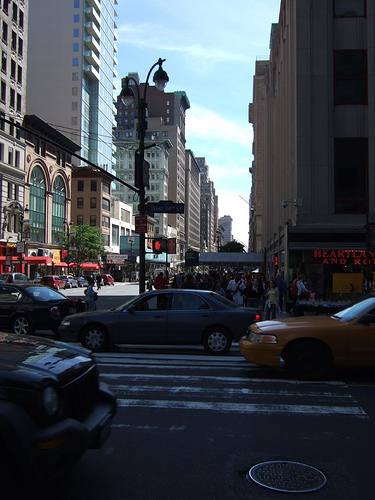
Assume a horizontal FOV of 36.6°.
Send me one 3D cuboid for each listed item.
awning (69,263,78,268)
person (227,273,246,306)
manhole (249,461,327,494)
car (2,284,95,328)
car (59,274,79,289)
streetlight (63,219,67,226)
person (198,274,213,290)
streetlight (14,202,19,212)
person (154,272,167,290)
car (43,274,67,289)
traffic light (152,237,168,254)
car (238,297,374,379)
[{"bbox_3d":[-14.830,1.930,73.895,1.034,0.590,1.162,2,2,-28],"label":"awning"},{"bbox_3d":[1.717,1.557,19.606,0.563,1.569,0.510,0,27,15],"label":"person"},{"bbox_3d":[0.779,1.743,4.392,0.609,0.050,0.612,4,2,31],"label":"manhole"},{"bbox_3d":[-3.286,1.406,14.020,2.551,0.944,1.168,7,-3,8],"label":"car"},{"bbox_3d":[-11.721,3.024,55.815,0.849,0.810,2.182,-1,-8,3],"label":"car"},{"bbox_3d":[-16.468,-3.798,75.985,0.284,0.918,0.833,4,-1,-11],"label":"streetlight"},{"bbox_3d":[0.624,1.080,19.543,0.387,0.848,0.446,2,-3,-8],"label":"person"},{"bbox_3d":[-17.676,-4.408,58.846,0.179,0.564,0.365,5,9,-42],"label":"streetlight"},{"bbox_3d":[-0.974,1.074,20.112,0.405,0.384,0.780,2,2,-3],"label":"person"},{"bbox_3d":[-11.293,2.612,47.847,0.856,0.765,2.056,1,2,9],"label":"car"},{"bbox_3d":[-1.134,-0.190,23.600,0.588,0.558,0.926,1,0,0],"label":"traffic light"},{"bbox_3d":[1.855,1.295,8.652,2.155,0.879,0.969,2,-4,4],"label":"car"}]
